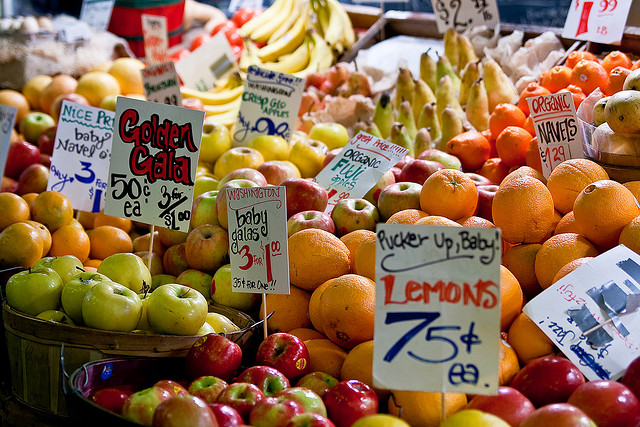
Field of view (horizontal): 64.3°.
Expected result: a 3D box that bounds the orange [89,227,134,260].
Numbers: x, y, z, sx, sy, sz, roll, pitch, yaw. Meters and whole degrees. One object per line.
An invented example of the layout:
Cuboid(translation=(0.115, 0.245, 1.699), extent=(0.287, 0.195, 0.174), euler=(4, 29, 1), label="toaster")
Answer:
Cuboid(translation=(-1.281, 0.140, 3.161), extent=(0.227, 0.226, 0.207), euler=(9, -20, -15), label="orange")

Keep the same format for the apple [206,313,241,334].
Cuboid(translation=(-0.485, 0.546, 2.546), extent=(0.092, 0.074, 0.127), euler=(27, -3, 38), label="apple")

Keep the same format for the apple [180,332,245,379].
Cuboid(translation=(-0.481, 0.627, 2.335), extent=(0.203, 0.201, 0.192), euler=(47, -21, -25), label="apple")

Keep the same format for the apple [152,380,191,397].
Cuboid(translation=(-0.592, 0.704, 2.046), extent=(0.102, 0.063, 0.080), euler=(25, -6, -24), label="apple")

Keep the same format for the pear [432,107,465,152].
Cuboid(translation=(0.981, -0.605, 3.725), extent=(0.235, 0.301, 0.136), euler=(1, 16, -37), label="pear")

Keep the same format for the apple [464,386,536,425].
Cuboid(translation=(0.703, 0.718, 2.003), extent=(0.164, 0.182, 0.174), euler=(-16, -24, -14), label="apple")

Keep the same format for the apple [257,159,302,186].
Cuboid(translation=(-0.266, -0.224, 3.309), extent=(0.187, 0.205, 0.190), euler=(2, -4, -28), label="apple")

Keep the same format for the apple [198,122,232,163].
Cuboid(translation=(-0.791, -0.513, 3.776), extent=(0.248, 0.289, 0.274), euler=(-1, 11, -6), label="apple")

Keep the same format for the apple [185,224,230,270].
Cuboid(translation=(-0.618, 0.184, 2.890), extent=(0.225, 0.241, 0.242), euler=(2, 23, -1), label="apple")

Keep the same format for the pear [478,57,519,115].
Cuboid(translation=(1.448, -1.061, 4.116), extent=(0.229, 0.412, 0.233), euler=(-19, -6, -27), label="pear")

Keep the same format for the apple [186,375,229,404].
Cuboid(translation=(-0.457, 0.706, 2.066), extent=(0.092, 0.103, 0.100), euler=(-2, 18, -5), label="apple")

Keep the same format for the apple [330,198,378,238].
Cuboid(translation=(0.197, 0.010, 2.872), extent=(0.200, 0.220, 0.221), euler=(6, 29, 4), label="apple")

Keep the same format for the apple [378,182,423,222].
Cuboid(translation=(0.457, -0.082, 2.898), extent=(0.201, 0.219, 0.220), euler=(-8, 15, -5), label="apple")

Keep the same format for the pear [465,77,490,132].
Cuboid(translation=(1.242, -0.847, 3.945), extent=(0.187, 0.392, 0.255), euler=(14, 13, 14), label="pear")

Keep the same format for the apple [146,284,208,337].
Cuboid(translation=(-0.666, 0.409, 2.422), extent=(0.214, 0.251, 0.230), euler=(7, 7, -1), label="apple")

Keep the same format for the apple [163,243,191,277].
Cuboid(translation=(-0.850, 0.282, 3.013), extent=(0.160, 0.219, 0.179), euler=(1, -22, -9), label="apple")

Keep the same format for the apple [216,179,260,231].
Cuboid(translation=(-0.501, -0.050, 2.888), extent=(0.211, 0.296, 0.326), euler=(12, 14, 4), label="apple")

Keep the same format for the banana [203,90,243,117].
Cuboid(translation=(-0.940, -1.114, 4.932), extent=(0.446, 0.173, 0.081), euler=(-6, -26, 9), label="banana")

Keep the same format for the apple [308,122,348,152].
Cuboid(translation=(0.066, -0.558, 3.947), extent=(0.225, 0.224, 0.238), euler=(-23, 63, -33), label="apple")

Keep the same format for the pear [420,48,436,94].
Cuboid(translation=(0.923, -1.269, 4.450), extent=(0.149, 0.396, 0.157), euler=(0, -19, -6), label="pear")

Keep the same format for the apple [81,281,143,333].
Cuboid(translation=(-0.940, 0.396, 2.386), extent=(0.222, 0.246, 0.228), euler=(19, 0, -16), label="apple")

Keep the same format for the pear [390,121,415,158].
Cuboid(translation=(0.598, -0.592, 3.812), extent=(0.156, 0.183, 0.344), euler=(8, -14, 13), label="pear")

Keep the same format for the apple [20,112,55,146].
Cuboid(translation=(-2.283, -0.740, 4.218), extent=(0.260, 0.290, 0.282), euler=(-5, 18, -11), label="apple")

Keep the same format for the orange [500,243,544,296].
Cuboid(translation=(0.974, 0.276, 2.439), extent=(0.166, 0.213, 0.172), euler=(-19, 36, -23), label="orange")

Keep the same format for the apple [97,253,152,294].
Cuboid(translation=(-0.988, 0.272, 2.629), extent=(0.202, 0.220, 0.210), euler=(19, 16, 27), label="apple")

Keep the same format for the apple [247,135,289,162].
Cuboid(translation=(-0.367, -0.444, 3.721), extent=(0.233, 0.249, 0.251), euler=(0, 52, -18), label="apple")

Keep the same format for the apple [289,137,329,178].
Cuboid(translation=(-0.049, -0.429, 3.632), extent=(0.246, 0.263, 0.259), euler=(23, 24, 15), label="apple")

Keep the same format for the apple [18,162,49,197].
Cuboid(translation=(-1.972, -0.236, 3.516), extent=(0.174, 0.210, 0.303), euler=(-1, 19, -41), label="apple")

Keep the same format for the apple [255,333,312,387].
Cuboid(translation=(-0.157, 0.635, 2.347), extent=(0.194, 0.211, 0.223), euler=(-1, 48, 13), label="apple")

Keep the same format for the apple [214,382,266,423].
Cuboid(translation=(-0.302, 0.711, 1.979), extent=(0.127, 0.142, 0.136), euler=(5, 18, 2), label="apple")

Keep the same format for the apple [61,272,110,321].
Cuboid(translation=(-1.134, 0.364, 2.400), extent=(0.193, 0.222, 0.205), euler=(15, 17, 18), label="apple")

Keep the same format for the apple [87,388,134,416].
Cuboid(translation=(-0.850, 0.764, 2.069), extent=(0.119, 0.075, 0.090), euler=(13, -14, -42), label="apple")

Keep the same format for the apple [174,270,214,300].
Cuboid(translation=(-0.687, 0.367, 2.833), extent=(0.157, 0.171, 0.168), euler=(18, 4, -1), label="apple")

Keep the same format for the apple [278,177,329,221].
Cuboid(translation=(-0.094, -0.123, 3.001), extent=(0.224, 0.240, 0.229), euler=(13, 5, -29), label="apple")

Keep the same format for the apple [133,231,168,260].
Cuboid(translation=(-1.068, 0.178, 3.249), extent=(0.158, 0.187, 0.176), euler=(2, 11, 27), label="apple")

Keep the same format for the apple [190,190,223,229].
Cuboid(translation=(-0.672, -0.018, 3.097), extent=(0.186, 0.208, 0.200), euler=(5, -18, -2), label="apple")

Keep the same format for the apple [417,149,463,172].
Cuboid(translation=(0.790, -0.348, 3.313), extent=(0.226, 0.146, 0.128), euler=(30, 41, 29), label="apple")

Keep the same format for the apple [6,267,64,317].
Cuboid(translation=(-1.343, 0.352, 2.463), extent=(0.203, 0.217, 0.217), euler=(4, 0, 5), label="apple")

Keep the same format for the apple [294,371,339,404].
Cuboid(translation=(0.001, 0.741, 2.195), extent=(0.103, 0.116, 0.100), euler=(13, -6, -44), label="apple")

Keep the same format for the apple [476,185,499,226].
Cuboid(translation=(0.916, -0.046, 2.924), extent=(0.166, 0.185, 0.178), euler=(0, 11, 2), label="apple")
